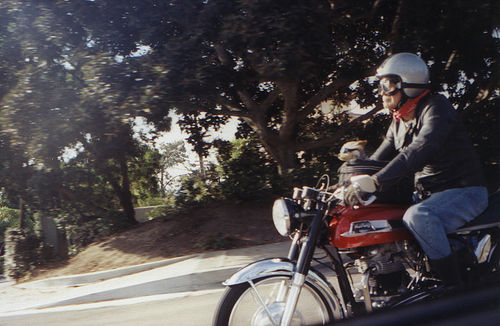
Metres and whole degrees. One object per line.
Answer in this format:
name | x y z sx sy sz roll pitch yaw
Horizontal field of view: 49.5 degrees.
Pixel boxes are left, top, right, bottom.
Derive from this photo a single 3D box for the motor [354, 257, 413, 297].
motor | 1.913 1.644 7.734 0.851 0.479 0.546 -2 -3 7
